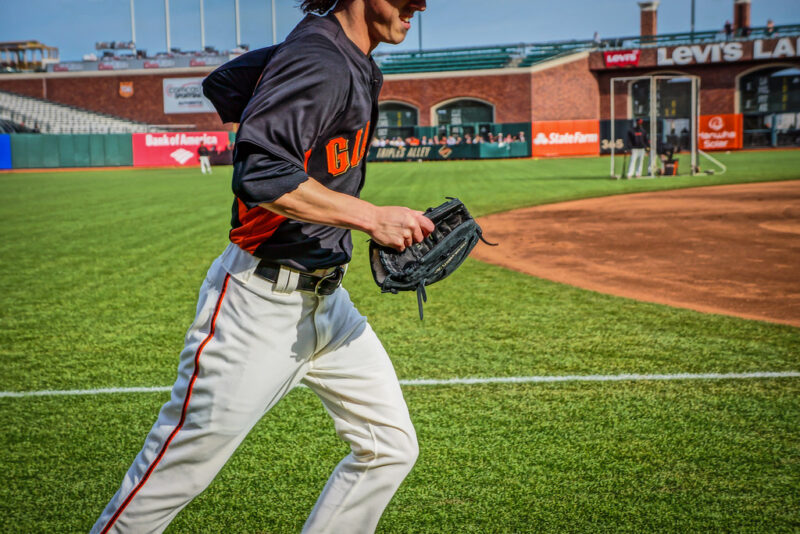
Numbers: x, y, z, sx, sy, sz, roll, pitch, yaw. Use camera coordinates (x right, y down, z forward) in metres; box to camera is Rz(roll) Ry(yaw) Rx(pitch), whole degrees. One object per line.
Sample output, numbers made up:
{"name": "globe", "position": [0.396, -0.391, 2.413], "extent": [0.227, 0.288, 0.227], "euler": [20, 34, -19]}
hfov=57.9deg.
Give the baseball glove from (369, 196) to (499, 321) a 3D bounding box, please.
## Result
{"name": "baseball glove", "position": [0.150, -0.076, 3.804], "extent": [0.582, 0.685, 0.212], "euler": [21, -19, -16]}
